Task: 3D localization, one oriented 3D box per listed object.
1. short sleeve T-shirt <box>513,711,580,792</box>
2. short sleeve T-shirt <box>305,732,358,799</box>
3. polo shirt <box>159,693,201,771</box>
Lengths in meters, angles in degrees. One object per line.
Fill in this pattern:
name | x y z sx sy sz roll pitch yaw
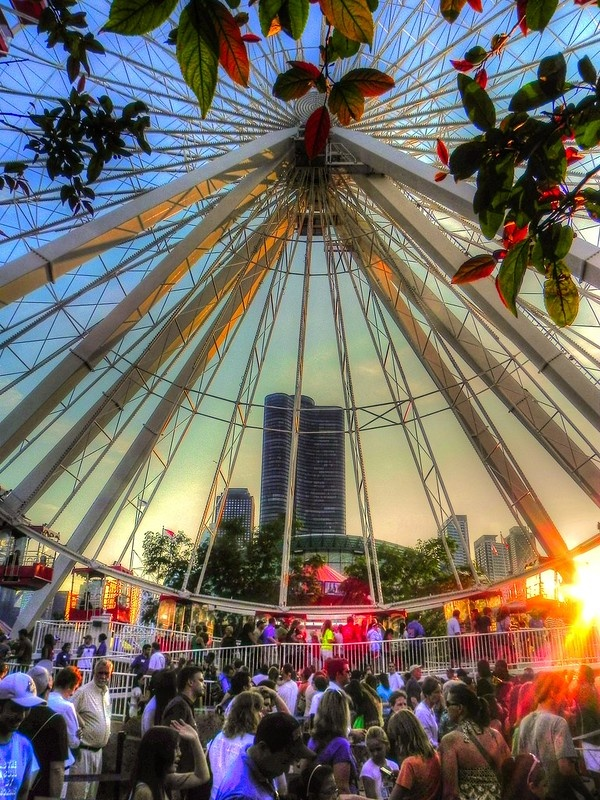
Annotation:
short sleeve T-shirt | 3.013 4.363 5.025 0.306 0.748 0.809 43 -55 -4
short sleeve T-shirt | 0.343 4.200 4.707 0.474 0.589 0.304 1 -27 4
polo shirt | -1.480 3.962 4.783 0.441 0.652 0.930 9 -26 -11
